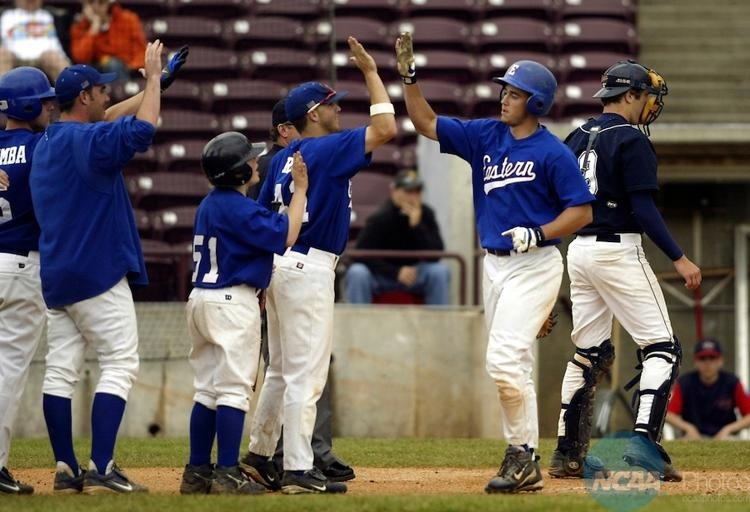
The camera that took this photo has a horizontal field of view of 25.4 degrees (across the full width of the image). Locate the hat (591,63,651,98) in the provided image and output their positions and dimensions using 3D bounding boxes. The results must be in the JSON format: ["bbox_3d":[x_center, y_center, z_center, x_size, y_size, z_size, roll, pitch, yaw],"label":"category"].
[{"bbox_3d":[2.190,-1.573,14.929,0.444,0.226,0.329,-4,7,-16],"label":"hat"}]

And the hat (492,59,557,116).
[{"bbox_3d":[1.314,-1.475,14.620,0.569,0.395,0.410,9,6,-12],"label":"hat"}]

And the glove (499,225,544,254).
[{"bbox_3d":[1.240,-0.141,14.295,0.345,0.213,0.181,-3,-8,30],"label":"glove"}]

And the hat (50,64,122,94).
[{"bbox_3d":[-2.578,-1.571,14.651,0.625,0.245,0.382,-18,19,-12],"label":"hat"}]

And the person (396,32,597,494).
[{"bbox_3d":[1.118,0.163,14.452,1.493,3.730,0.531,0,-7,4],"label":"person"}]

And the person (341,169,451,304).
[{"bbox_3d":[0.178,-0.136,18.174,1.191,1.509,0.978,1,15,-24],"label":"person"}]

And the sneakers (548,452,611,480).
[{"bbox_3d":[1.807,1.870,14.752,0.547,0.221,0.203,-1,-7,10],"label":"sneakers"}]
